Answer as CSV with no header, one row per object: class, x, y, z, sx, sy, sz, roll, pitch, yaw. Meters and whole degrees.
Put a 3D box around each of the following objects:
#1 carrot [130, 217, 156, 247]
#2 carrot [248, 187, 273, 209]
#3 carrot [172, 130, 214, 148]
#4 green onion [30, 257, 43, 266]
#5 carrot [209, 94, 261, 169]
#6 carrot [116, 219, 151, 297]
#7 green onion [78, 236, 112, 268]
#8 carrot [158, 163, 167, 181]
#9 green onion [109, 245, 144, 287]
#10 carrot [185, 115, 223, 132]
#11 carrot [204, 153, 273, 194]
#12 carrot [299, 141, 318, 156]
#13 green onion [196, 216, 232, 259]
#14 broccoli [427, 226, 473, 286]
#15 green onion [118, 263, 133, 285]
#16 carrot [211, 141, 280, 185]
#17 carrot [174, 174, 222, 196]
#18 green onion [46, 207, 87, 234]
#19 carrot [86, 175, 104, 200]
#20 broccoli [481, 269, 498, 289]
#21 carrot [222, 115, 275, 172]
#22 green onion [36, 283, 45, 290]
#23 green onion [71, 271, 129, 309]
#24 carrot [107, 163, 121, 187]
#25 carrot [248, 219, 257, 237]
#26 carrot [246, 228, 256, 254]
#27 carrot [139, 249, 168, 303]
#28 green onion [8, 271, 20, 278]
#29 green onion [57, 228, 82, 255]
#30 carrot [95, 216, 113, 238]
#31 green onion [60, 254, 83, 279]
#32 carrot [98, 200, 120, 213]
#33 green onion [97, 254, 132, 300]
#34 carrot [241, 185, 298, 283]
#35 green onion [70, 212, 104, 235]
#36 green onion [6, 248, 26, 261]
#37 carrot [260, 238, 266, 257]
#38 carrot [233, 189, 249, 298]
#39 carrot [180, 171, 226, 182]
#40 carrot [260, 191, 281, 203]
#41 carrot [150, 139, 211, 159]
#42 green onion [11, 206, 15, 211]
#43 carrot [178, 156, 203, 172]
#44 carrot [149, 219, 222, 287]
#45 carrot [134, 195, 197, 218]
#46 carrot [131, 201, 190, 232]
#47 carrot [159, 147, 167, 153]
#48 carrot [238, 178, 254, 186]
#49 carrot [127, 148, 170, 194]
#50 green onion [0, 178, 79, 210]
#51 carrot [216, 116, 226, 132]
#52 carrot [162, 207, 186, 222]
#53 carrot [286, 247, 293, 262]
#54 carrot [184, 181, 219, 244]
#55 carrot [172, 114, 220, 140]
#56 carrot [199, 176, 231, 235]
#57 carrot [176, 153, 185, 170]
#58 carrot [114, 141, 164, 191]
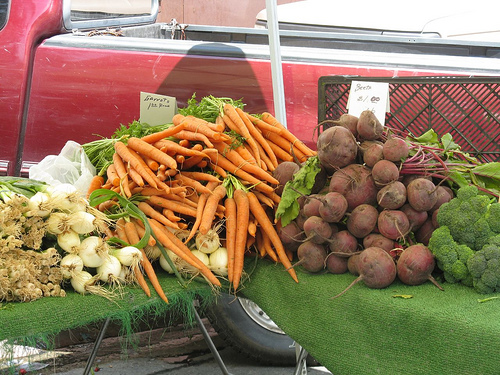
carrot,-0.450,0.189,1.635,0.136,0.031,0.032,46,36,11
carrot,0.046,0.048,1.763,0.124,0.021,0.022,45,-9,32
carrot,-0.269,-0.233,1.842,0.294,0.072,0.062,10,-11,42
green onion,-0.751,0.258,1.371,0.030,0.031,0.008,-21,-3,-16
carrot,-0.083,-0.313,1.924,0.071,0.484,0.092,-26,-29,-3
carrot,-0.466,0.290,1.557,0.047,0.306,0.046,-40,-22,32
green onion,-0.590,0.251,1.484,0.072,0.073,0.095,27,45,-14
carrot,-0.388,-0.070,1.712,0.015,0.053,0.018,17,-16,-36
green onion,-0.491,0.282,1.510,0.044,0.049,0.178,14,19,7
carrot,-0.235,-0.292,1.889,0.233,0.039,0.055,26,19,33
carrot,-0.064,-0.061,1.809,0.271,0.043,0.038,33,53,8
carrot,0.312,-0.182,2.021,0.129,0.031,0.029,43,6,9
green onion,-0.183,0.217,1.725,0.085,0.183,0.093,-10,-30,17
broccoli,0.692,0.240,1.405,0.141,0.097,0.184,49,27,2
green onion,-0.491,0.337,1.517,0.031,0.068,0.057,-2,-2,3
carrot,-0.039,-0.109,1.833,0.290,0.043,0.043,35,60,13
carrot,-0.243,-0.007,1.759,0.139,0.029,0.025,30,-26,19
green onion,-0.689,0.126,1.437,0.103,0.051,0.060,-2,-18,-19
carrot,-0.721,-0.015,1.856,0.045,0.146,0.046,1,-27,25
broccoli,0.766,0.289,1.253,0.047,0.053,0.016,-12,1,28
carrot,-0.018,-0.204,1.879,0.057,0.311,0.054,-37,-3,20
green onion,-0.726,0.337,1.347,0.022,0.007,0.021,-17,-21,-5
green onion,-0.548,0.378,1.482,0.225,0.113,0.071,24,-24,1
carrot,-0.627,-0.053,1.779,0.045,0.048,0.152,-31,35,1
carrot,0.009,0.173,1.712,0.022,0.023,0.076,-15,31,0
carrot,-0.001,0.232,1.731,0.027,0.082,0.025,11,-28,-44
carrot,-0.388,0.337,1.543,0.041,0.157,0.212,-9,18,-37
green onion,-0.782,0.284,1.286,0.040,0.022,0.016,5,14,12
green onion,-0.665,0.194,1.473,0.068,0.091,0.053,-33,-8,15
carrot,-0.608,0.170,1.642,0.021,0.080,0.017,-16,25,2
green onion,-0.652,0.286,1.424,0.076,0.075,0.050,-1,14,-11
carrot,-0.642,0.078,1.754,0.061,0.057,0.015,45,21,-22
green onion,-0.515,0.338,1.502,0.081,0.149,0.057,-31,-13,16
carrot,0.082,0.205,1.646,0.059,0.056,0.450,-14,65,-44
green onion,-0.621,0.137,1.475,0.101,0.050,0.055,17,-27,-18
green onion,-0.804,0.225,1.350,0.034,0.042,0.015,19,-39,-29
carrot,0.055,0.261,1.680,0.017,0.061,0.015,12,-17,-39
carrot,-0.024,0.196,1.654,0.065,0.372,0.055,10,-24,-7
carrot,-0.227,-0.048,1.807,0.153,0.027,0.026,11,3,11
carrot,0.086,0.041,1.787,0.117,0.031,0.025,40,7,38
carrot,-0.323,-0.171,1.775,0.224,0.040,0.041,13,43,17
green onion,-0.829,0.073,1.362,0.011,0.013,0.019,-7,16,-31
carrot,-0.286,-0.111,1.823,0.103,0.030,0.025,-25,-22,16
carrot,-0.276,0.279,1.638,0.374,0.037,0.041,45,20,20
carrot,-0.363,0.065,1.744,0.340,0.056,0.047,9,23,28
carrot,-0.394,0.125,1.702,0.201,0.031,0.031,32,-19,17
carrot,-0.394,-0.168,1.765,0.029,0.019,0.033,3,-1,-11
carrot,-0.030,-0.026,1.813,0.030,0.020,0.090,-8,8,-21
carrot,-0.450,-0.068,1.739,0.270,0.031,0.039,46,-4,30
green onion,-0.812,0.029,1.485,0.199,0.055,0.055,16,46,12
carrot,-0.148,-0.310,1.933,0.038,0.026,0.078,-3,45,-4
carrot,-0.330,0.111,1.699,0.113,0.031,0.034,26,-6,44
carrot,0.160,0.276,1.628,0.017,0.057,0.017,-4,-16,-18
carrot,-0.194,0.066,1.757,0.066,0.387,0.072,17,-34,4
carrot,-0.261,-0.277,1.837,0.250,0.059,0.061,26,7,19
carrot,-0.170,0.100,1.816,0.110,0.089,0.460,14,-26,-2
carrot,-0.319,-0.123,1.782,0.038,0.055,0.070,-1,14,-11
carrot,-0.496,-0.089,1.756,0.286,0.044,0.043,47,19,23
